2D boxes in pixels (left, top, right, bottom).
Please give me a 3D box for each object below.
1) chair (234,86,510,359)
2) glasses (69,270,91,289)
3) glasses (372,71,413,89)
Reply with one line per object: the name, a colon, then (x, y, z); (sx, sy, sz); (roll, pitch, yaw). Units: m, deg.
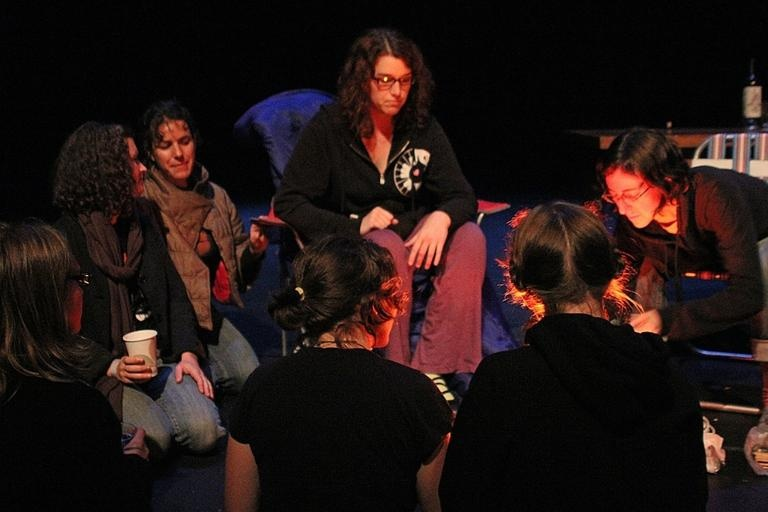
chair: (0.049, -0.092, 4.855); (1.912, 1.722, 1.027); (12, 19, 27)
glasses: (-1.186, 0.092, 3.071); (0.128, 0.058, 0.096); (7, 9, 44)
glasses: (0.036, -0.860, 3.893); (0.195, 0.071, 0.062); (-2, 8, -8)
